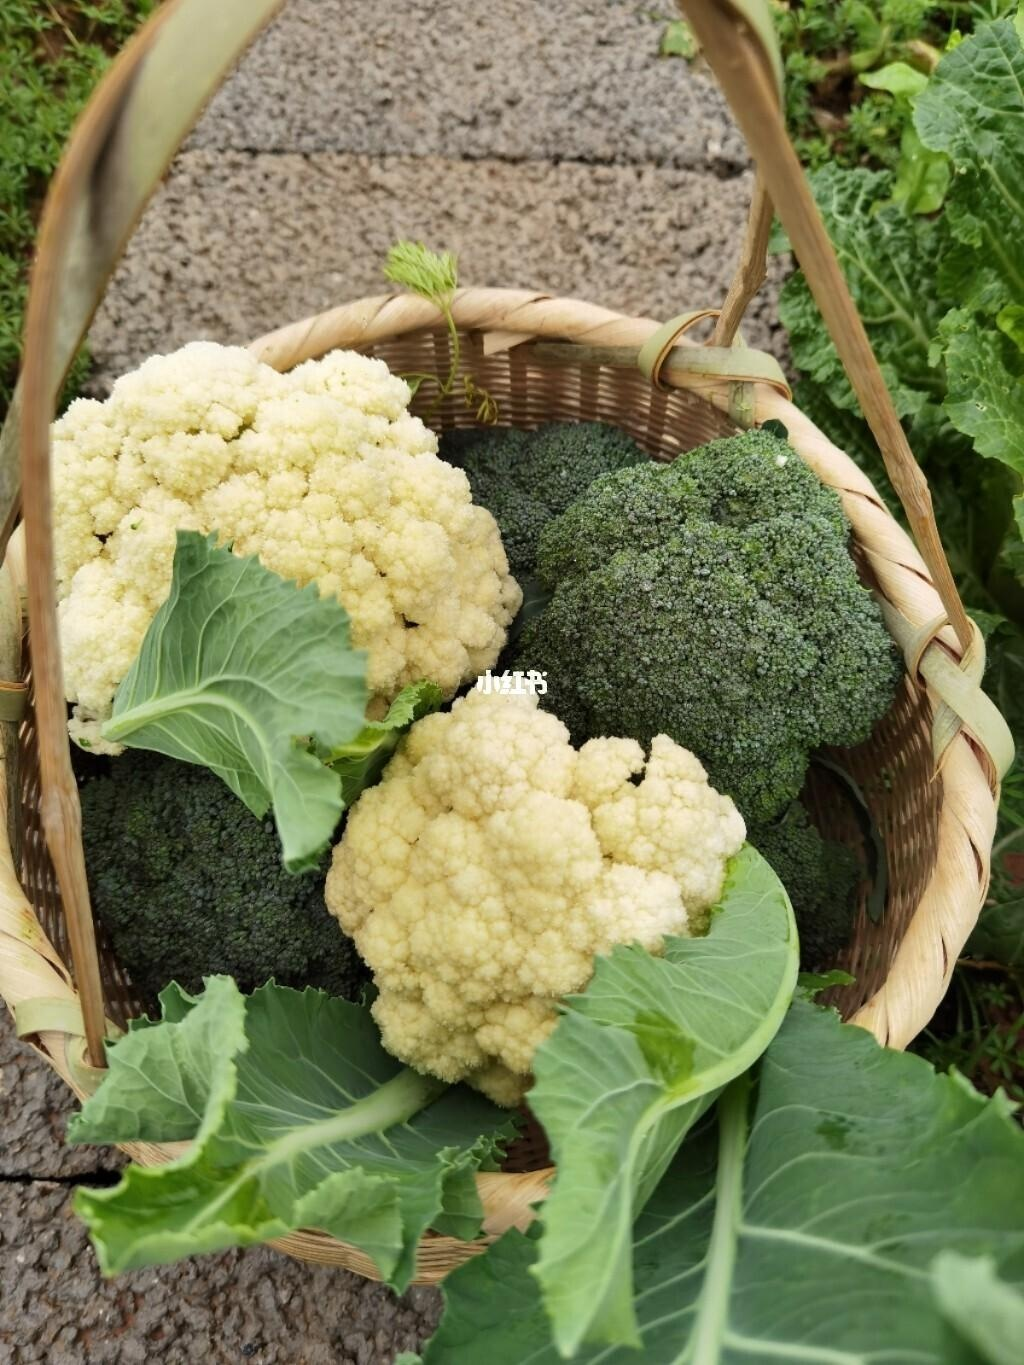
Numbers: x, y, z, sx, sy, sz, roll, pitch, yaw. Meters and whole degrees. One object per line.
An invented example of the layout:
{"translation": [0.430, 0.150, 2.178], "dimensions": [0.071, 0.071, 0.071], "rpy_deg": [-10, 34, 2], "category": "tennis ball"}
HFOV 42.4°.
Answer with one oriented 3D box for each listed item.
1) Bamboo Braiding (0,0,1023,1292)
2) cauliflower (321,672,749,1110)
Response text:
{"translation": [0.111, 0.089, 1.413], "dimensions": [1.094, 0.437, 1.173], "rpy_deg": [17, 75, 0], "category": "Bamboo Braiding"}
{"translation": [-0.007, 0.189, 1.372], "dimensions": [0.431, 0.171, 0.352], "rpy_deg": [-39, 70, -19], "category": "cauliflower"}
